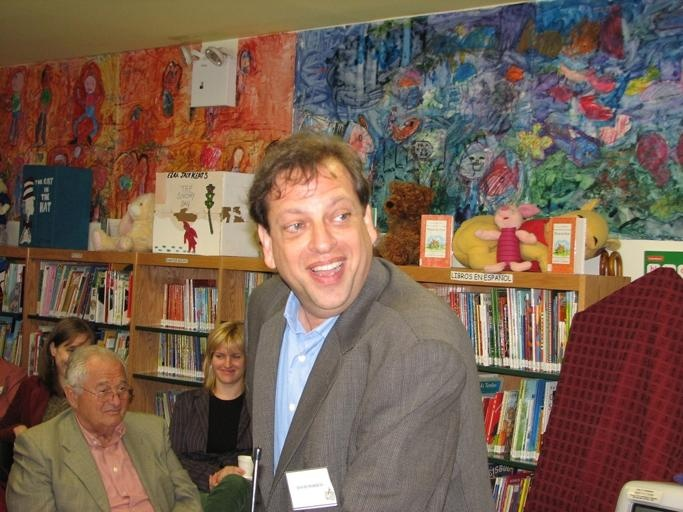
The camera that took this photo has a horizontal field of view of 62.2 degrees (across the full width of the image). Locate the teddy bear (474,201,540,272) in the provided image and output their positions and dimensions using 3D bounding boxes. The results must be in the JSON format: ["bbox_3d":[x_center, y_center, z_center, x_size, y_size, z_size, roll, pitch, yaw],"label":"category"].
[{"bbox_3d":[0.987,-0.095,3.342,0.422,0.499,0.236,-2,-5,32],"label":"teddy bear"}]

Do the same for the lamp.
[{"bbox_3d":[-1.142,-1.559,4.819,0.405,0.503,0.284,7,13,23],"label":"lamp"}]

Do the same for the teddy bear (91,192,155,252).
[{"bbox_3d":[-1.791,-0.253,4.752,0.581,0.561,0.496,0,11,-29],"label":"teddy bear"}]
